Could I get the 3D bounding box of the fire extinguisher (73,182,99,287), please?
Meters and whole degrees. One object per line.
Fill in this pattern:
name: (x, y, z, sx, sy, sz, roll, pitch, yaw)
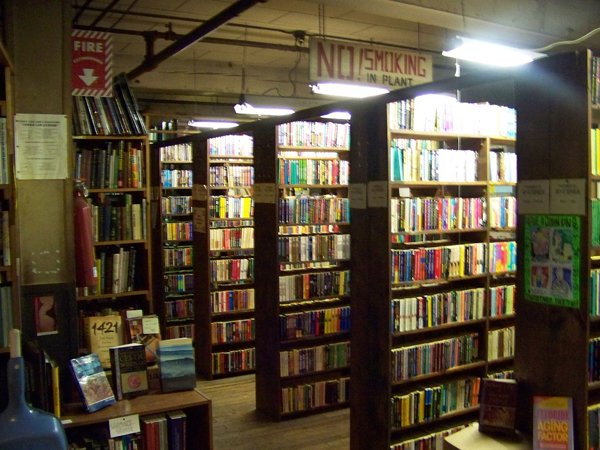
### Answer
fire extinguisher: (-1.763, 0.065, 4.686, 0.150, 0.743, 0.256, -4, 2, -22)
